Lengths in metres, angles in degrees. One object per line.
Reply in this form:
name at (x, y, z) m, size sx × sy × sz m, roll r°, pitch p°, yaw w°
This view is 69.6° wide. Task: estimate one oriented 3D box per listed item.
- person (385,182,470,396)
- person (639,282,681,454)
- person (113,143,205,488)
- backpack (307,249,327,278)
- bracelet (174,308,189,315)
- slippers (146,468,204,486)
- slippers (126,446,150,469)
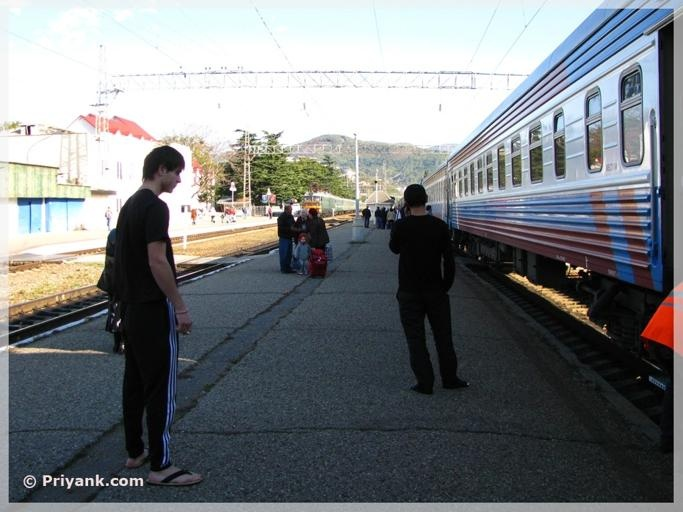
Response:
person at (0.932, 0.342, 5.431) m, size 0.698 × 2.275 × 0.564 m, roll -3°, pitch 5°, yaw -36°
person at (2.664, 0.931, 4.123) m, size 0.283 × 1.428 × 0.267 m, roll -4°, pitch 6°, yaw -43°
person at (-1.384, 0.435, 3.702) m, size 0.690 × 2.506 × 0.331 m, roll 1°, pitch 4°, yaw 20°
backpack at (-0.695, 0.218, 14.448) m, size 0.511 × 0.800 × 0.427 m, roll 0°, pitch 4°, yaw 6°
bracelet at (-1.175, 0.411, 3.650) m, size 0.057 × 0.046 × 0.094 m, roll 4°, pitch 7°, yaw 40°
slippers at (-1.228, 1.643, 3.631) m, size 0.305 × 0.097 × 0.166 m, roll 0°, pitch 2°, yaw 0°
slippers at (-1.602, 1.616, 3.898) m, size 0.086 × 0.097 × 0.220 m, roll 3°, pitch 8°, yaw 6°
